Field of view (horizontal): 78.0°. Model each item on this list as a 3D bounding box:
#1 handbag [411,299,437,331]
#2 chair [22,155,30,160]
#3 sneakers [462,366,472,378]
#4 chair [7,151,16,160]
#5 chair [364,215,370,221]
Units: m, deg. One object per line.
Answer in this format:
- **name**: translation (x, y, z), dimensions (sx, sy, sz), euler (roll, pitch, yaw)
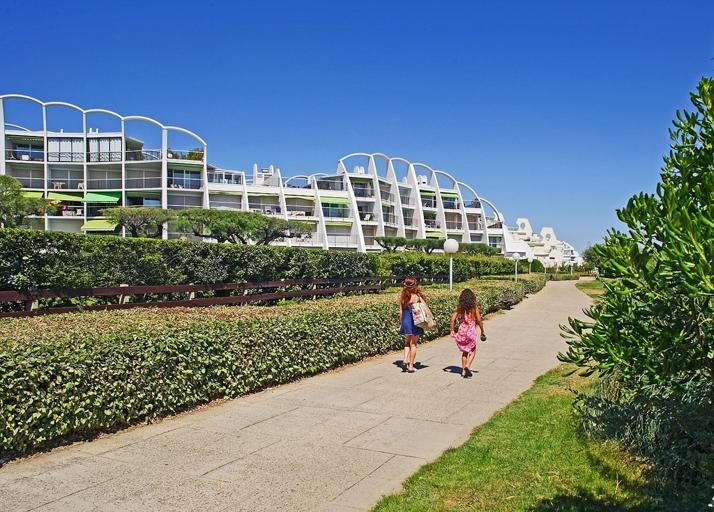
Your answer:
- **handbag**: translation (1.638, 1.459, 10.857), dimensions (0.521, 0.684, 0.343), euler (1, -2, -32)
- **chair**: translation (-38.341, -11.334, 50.445), dimensions (0.672, 0.603, 0.339), euler (3, -17, -21)
- **sneakers**: translation (2.663, 2.788, 10.633), dimensions (0.268, 0.191, 0.470), euler (-1, -2, 12)
- **chair**: translation (-39.888, -11.690, 50.513), dimensions (0.576, 1.077, 0.863), euler (-1, -2, 13)
- **chair**: translation (1.597, -5.906, 66.794), dimensions (0.638, 1.024, 1.007), euler (-2, -2, 44)
